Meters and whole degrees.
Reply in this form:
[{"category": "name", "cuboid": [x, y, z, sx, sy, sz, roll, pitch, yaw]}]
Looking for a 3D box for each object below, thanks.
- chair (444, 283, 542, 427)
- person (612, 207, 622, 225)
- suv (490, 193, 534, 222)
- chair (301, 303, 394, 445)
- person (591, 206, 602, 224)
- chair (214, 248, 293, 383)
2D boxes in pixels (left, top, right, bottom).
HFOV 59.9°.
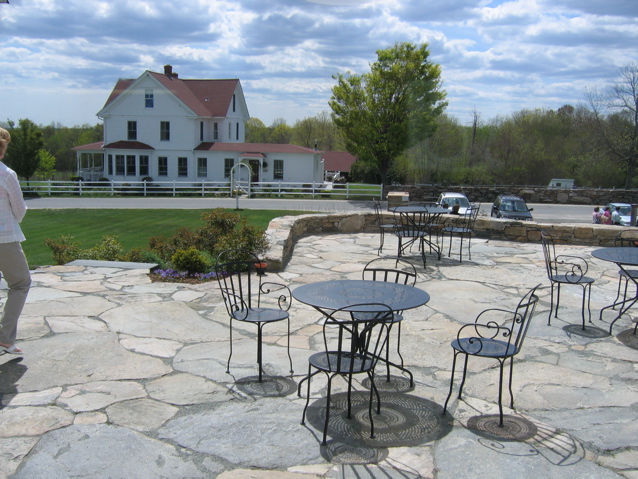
[{"category": "chair", "cuboid": [1.747, 1.119, 5.600, 0.831, 1.345, 0.677, 3, 3, 30]}, {"category": "person", "cuboid": [12.121, -0.889, 22.375, 0.342, 0.431, 1.523, 9, 15, 27]}, {"category": "suv", "cuboid": [6.890, -1.094, 19.683, 1.136, 0.892, 1.757, 0, 0, 4]}, {"category": "chair", "cuboid": [0.244, 1.243, 5.452, 0.822, 1.302, 0.882, 2, 1, -41]}, {"category": "person", "cuboid": [10.998, -0.911, 21.657, 0.282, 0.607, 1.290, 8, 15, 24]}, {"category": "chair", "cuboid": [-0.839, 0.958, 6.885, 0.857, 1.586, 0.999, -4, -3, 42]}]
